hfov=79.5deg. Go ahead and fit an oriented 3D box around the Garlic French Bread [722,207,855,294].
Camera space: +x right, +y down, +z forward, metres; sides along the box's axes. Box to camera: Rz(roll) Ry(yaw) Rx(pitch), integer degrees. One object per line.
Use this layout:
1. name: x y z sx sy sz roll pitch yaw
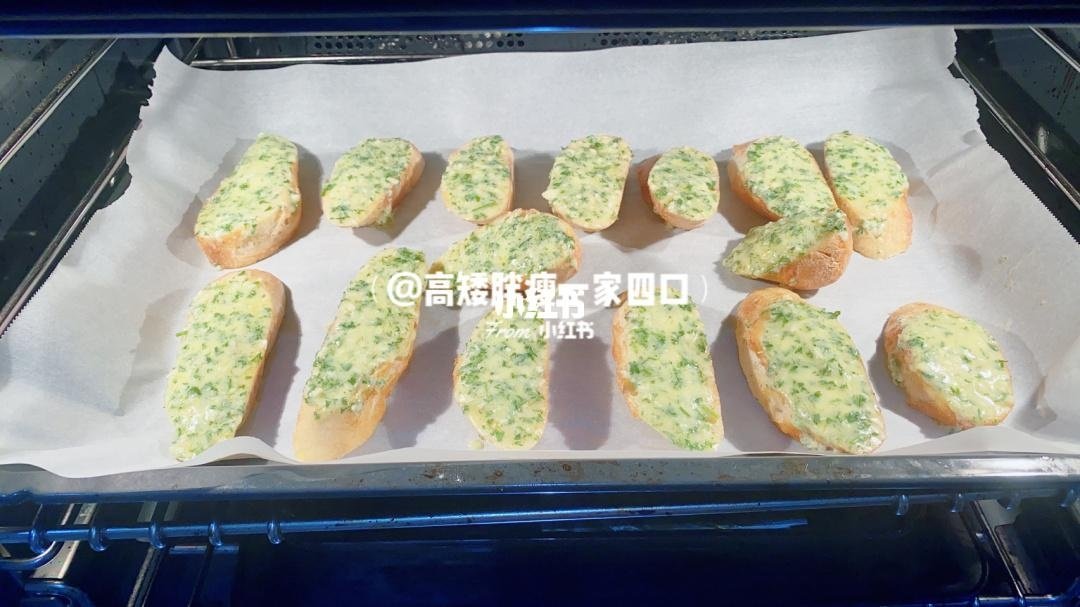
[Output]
1. Garlic French Bread: 1.252 -0.241 3.254 0.601 0.216 0.371 -6 51 23
